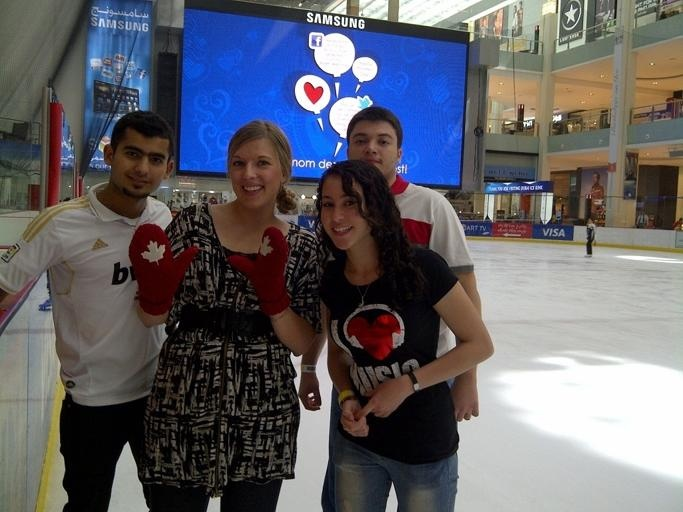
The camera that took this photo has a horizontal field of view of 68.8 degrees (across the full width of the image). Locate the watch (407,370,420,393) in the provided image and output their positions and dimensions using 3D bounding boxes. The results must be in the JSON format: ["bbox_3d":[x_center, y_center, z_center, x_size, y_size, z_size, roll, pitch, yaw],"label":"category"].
[{"bbox_3d":[0.213,0.369,1.464,0.030,0.062,0.056,-11,22,-12],"label":"watch"}]

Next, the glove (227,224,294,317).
[{"bbox_3d":[-0.223,0.051,1.470,0.216,0.242,0.067,25,1,12],"label":"glove"}]

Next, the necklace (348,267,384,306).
[{"bbox_3d":[0.079,0.099,1.531,0.096,0.134,0.010,5,-3,31],"label":"necklace"}]

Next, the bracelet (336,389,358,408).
[{"bbox_3d":[0.021,0.446,1.560,0.079,0.052,0.112,-5,-3,1],"label":"bracelet"}]
